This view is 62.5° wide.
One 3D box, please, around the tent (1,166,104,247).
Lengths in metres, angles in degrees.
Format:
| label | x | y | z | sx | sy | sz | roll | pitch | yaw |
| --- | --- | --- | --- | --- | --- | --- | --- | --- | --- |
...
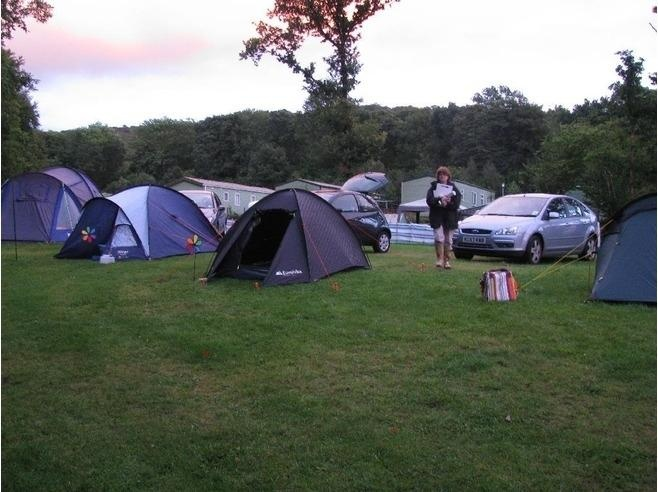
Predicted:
| label | x | y | z | sx | sy | sz | roll | pitch | yaw |
| --- | --- | --- | --- | --- | --- | --- | --- | --- | --- |
| tent | -9.719 | -1.379 | 19.497 | 3.013 | 2.240 | 3.254 | 2 | 7 | 15 |

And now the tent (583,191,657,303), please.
| label | x | y | z | sx | sy | sz | roll | pitch | yaw |
| --- | --- | --- | --- | --- | --- | --- | --- | --- | --- |
| tent | 5.032 | 0.040 | 9.232 | 1.367 | 1.447 | 1.259 | 2 | 2 | 24 |

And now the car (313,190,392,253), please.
| label | x | y | z | sx | sy | sz | roll | pitch | yaw |
| --- | --- | --- | --- | --- | --- | --- | --- | --- | --- |
| car | 0.738 | -0.764 | 16.040 | 2.219 | 1.255 | 1.331 | 10 | -9 | -40 |

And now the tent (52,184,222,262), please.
| label | x | y | z | sx | sy | sz | roll | pitch | yaw |
| --- | --- | --- | --- | --- | --- | --- | --- | --- | --- |
| tent | -5.026 | -0.635 | 14.479 | 3.726 | 1.940 | 1.189 | -6 | 11 | -28 |

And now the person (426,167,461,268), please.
| label | x | y | z | sx | sy | sz | roll | pitch | yaw |
| --- | --- | --- | --- | --- | --- | --- | --- | --- | --- |
| person | 2.578 | -0.626 | 12.214 | 0.716 | 2.276 | 1.107 | 2 | 10 | 14 |

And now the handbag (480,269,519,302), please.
| label | x | y | z | sx | sy | sz | roll | pitch | yaw |
| --- | --- | --- | --- | --- | --- | --- | --- | --- | --- |
| handbag | 2.850 | 0.676 | 9.112 | 0.416 | 0.434 | 0.194 | 0 | 8 | -12 |

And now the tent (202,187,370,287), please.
| label | x | y | z | sx | sy | sz | roll | pitch | yaw |
| --- | --- | --- | --- | --- | --- | --- | --- | --- | --- |
| tent | -0.852 | -0.314 | 11.569 | 2.178 | 1.855 | 2.799 | 6 | 12 | 32 |
